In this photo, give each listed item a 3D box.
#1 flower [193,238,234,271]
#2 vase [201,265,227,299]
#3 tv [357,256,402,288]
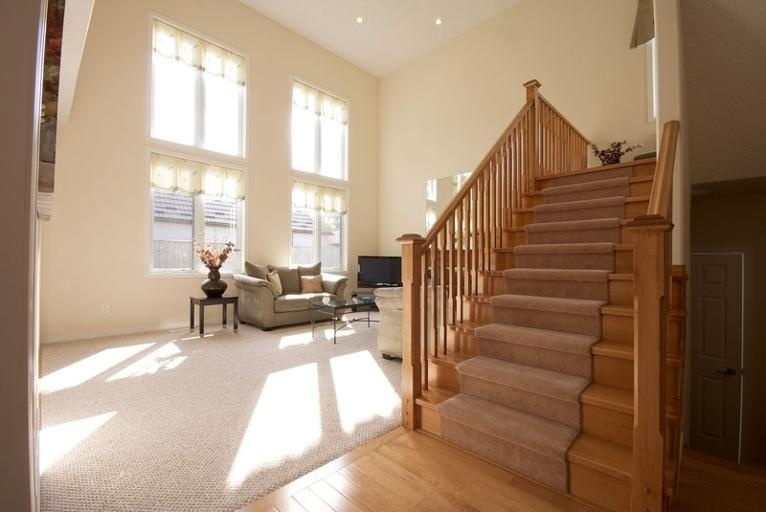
[{"bbox_3d":[-2.484,-0.010,7.174,0.510,0.370,0.475,3,-8,-27],"label":"flower"},{"bbox_3d":[-2.398,0.372,6.888,0.302,0.439,0.301,0,0,38],"label":"vase"},{"bbox_3d":[-0.104,0.293,9.128,0.959,0.500,0.238,0,0,33],"label":"tv"}]
